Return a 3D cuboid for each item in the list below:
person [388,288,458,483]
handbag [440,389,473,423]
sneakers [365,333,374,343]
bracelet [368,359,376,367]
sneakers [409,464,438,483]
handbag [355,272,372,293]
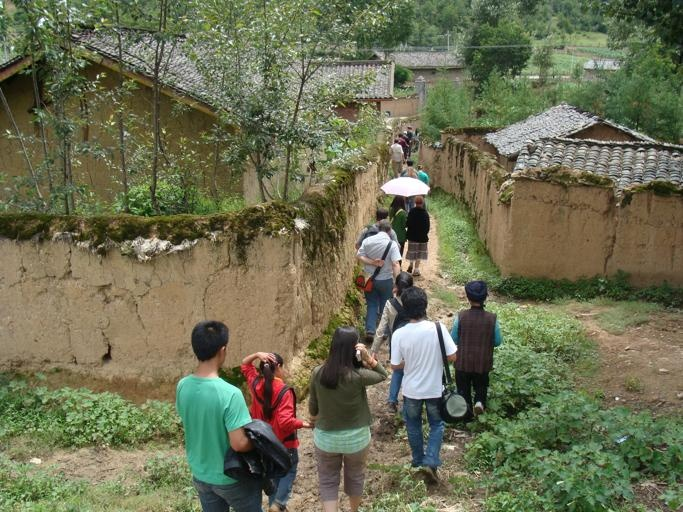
[{"bbox_3d":[0.928,1.455,8.335,0.735,2.227,0.334,0,5,5],"label":"person"},{"bbox_3d":[1.292,1.710,8.320,0.309,0.399,0.201,-24,-14,-11],"label":"handbag"},{"bbox_3d":[0.453,1.350,11.849,0.091,0.167,0.160,-2,-19,5],"label":"sneakers"},{"bbox_3d":[0.326,1.134,7.757,0.070,0.070,0.017,-45,-1,12],"label":"bracelet"},{"bbox_3d":[0.914,2.459,8.394,0.176,0.150,0.400,15,-3,-44],"label":"sneakers"},{"bbox_3d":[0.351,0.418,11.589,0.293,0.316,0.170,5,13,30],"label":"handbag"}]
